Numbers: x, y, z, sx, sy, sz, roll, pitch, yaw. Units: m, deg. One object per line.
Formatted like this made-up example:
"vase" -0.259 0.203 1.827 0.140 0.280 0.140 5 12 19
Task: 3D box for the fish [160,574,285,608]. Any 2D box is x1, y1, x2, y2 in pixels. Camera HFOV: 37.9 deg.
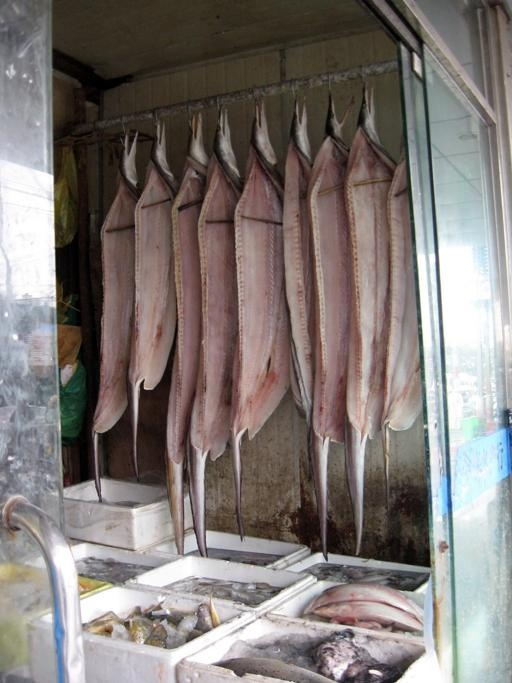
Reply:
"fish" -0.093 0.808 2.405 0.159 0.045 0.246 4 -7 -45

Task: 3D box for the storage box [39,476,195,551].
"storage box" -0.607 0.705 3.039 0.535 0.266 0.439 -4 -6 33

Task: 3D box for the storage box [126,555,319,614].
"storage box" -0.095 0.795 2.451 0.350 0.095 0.224 -8 -9 38
